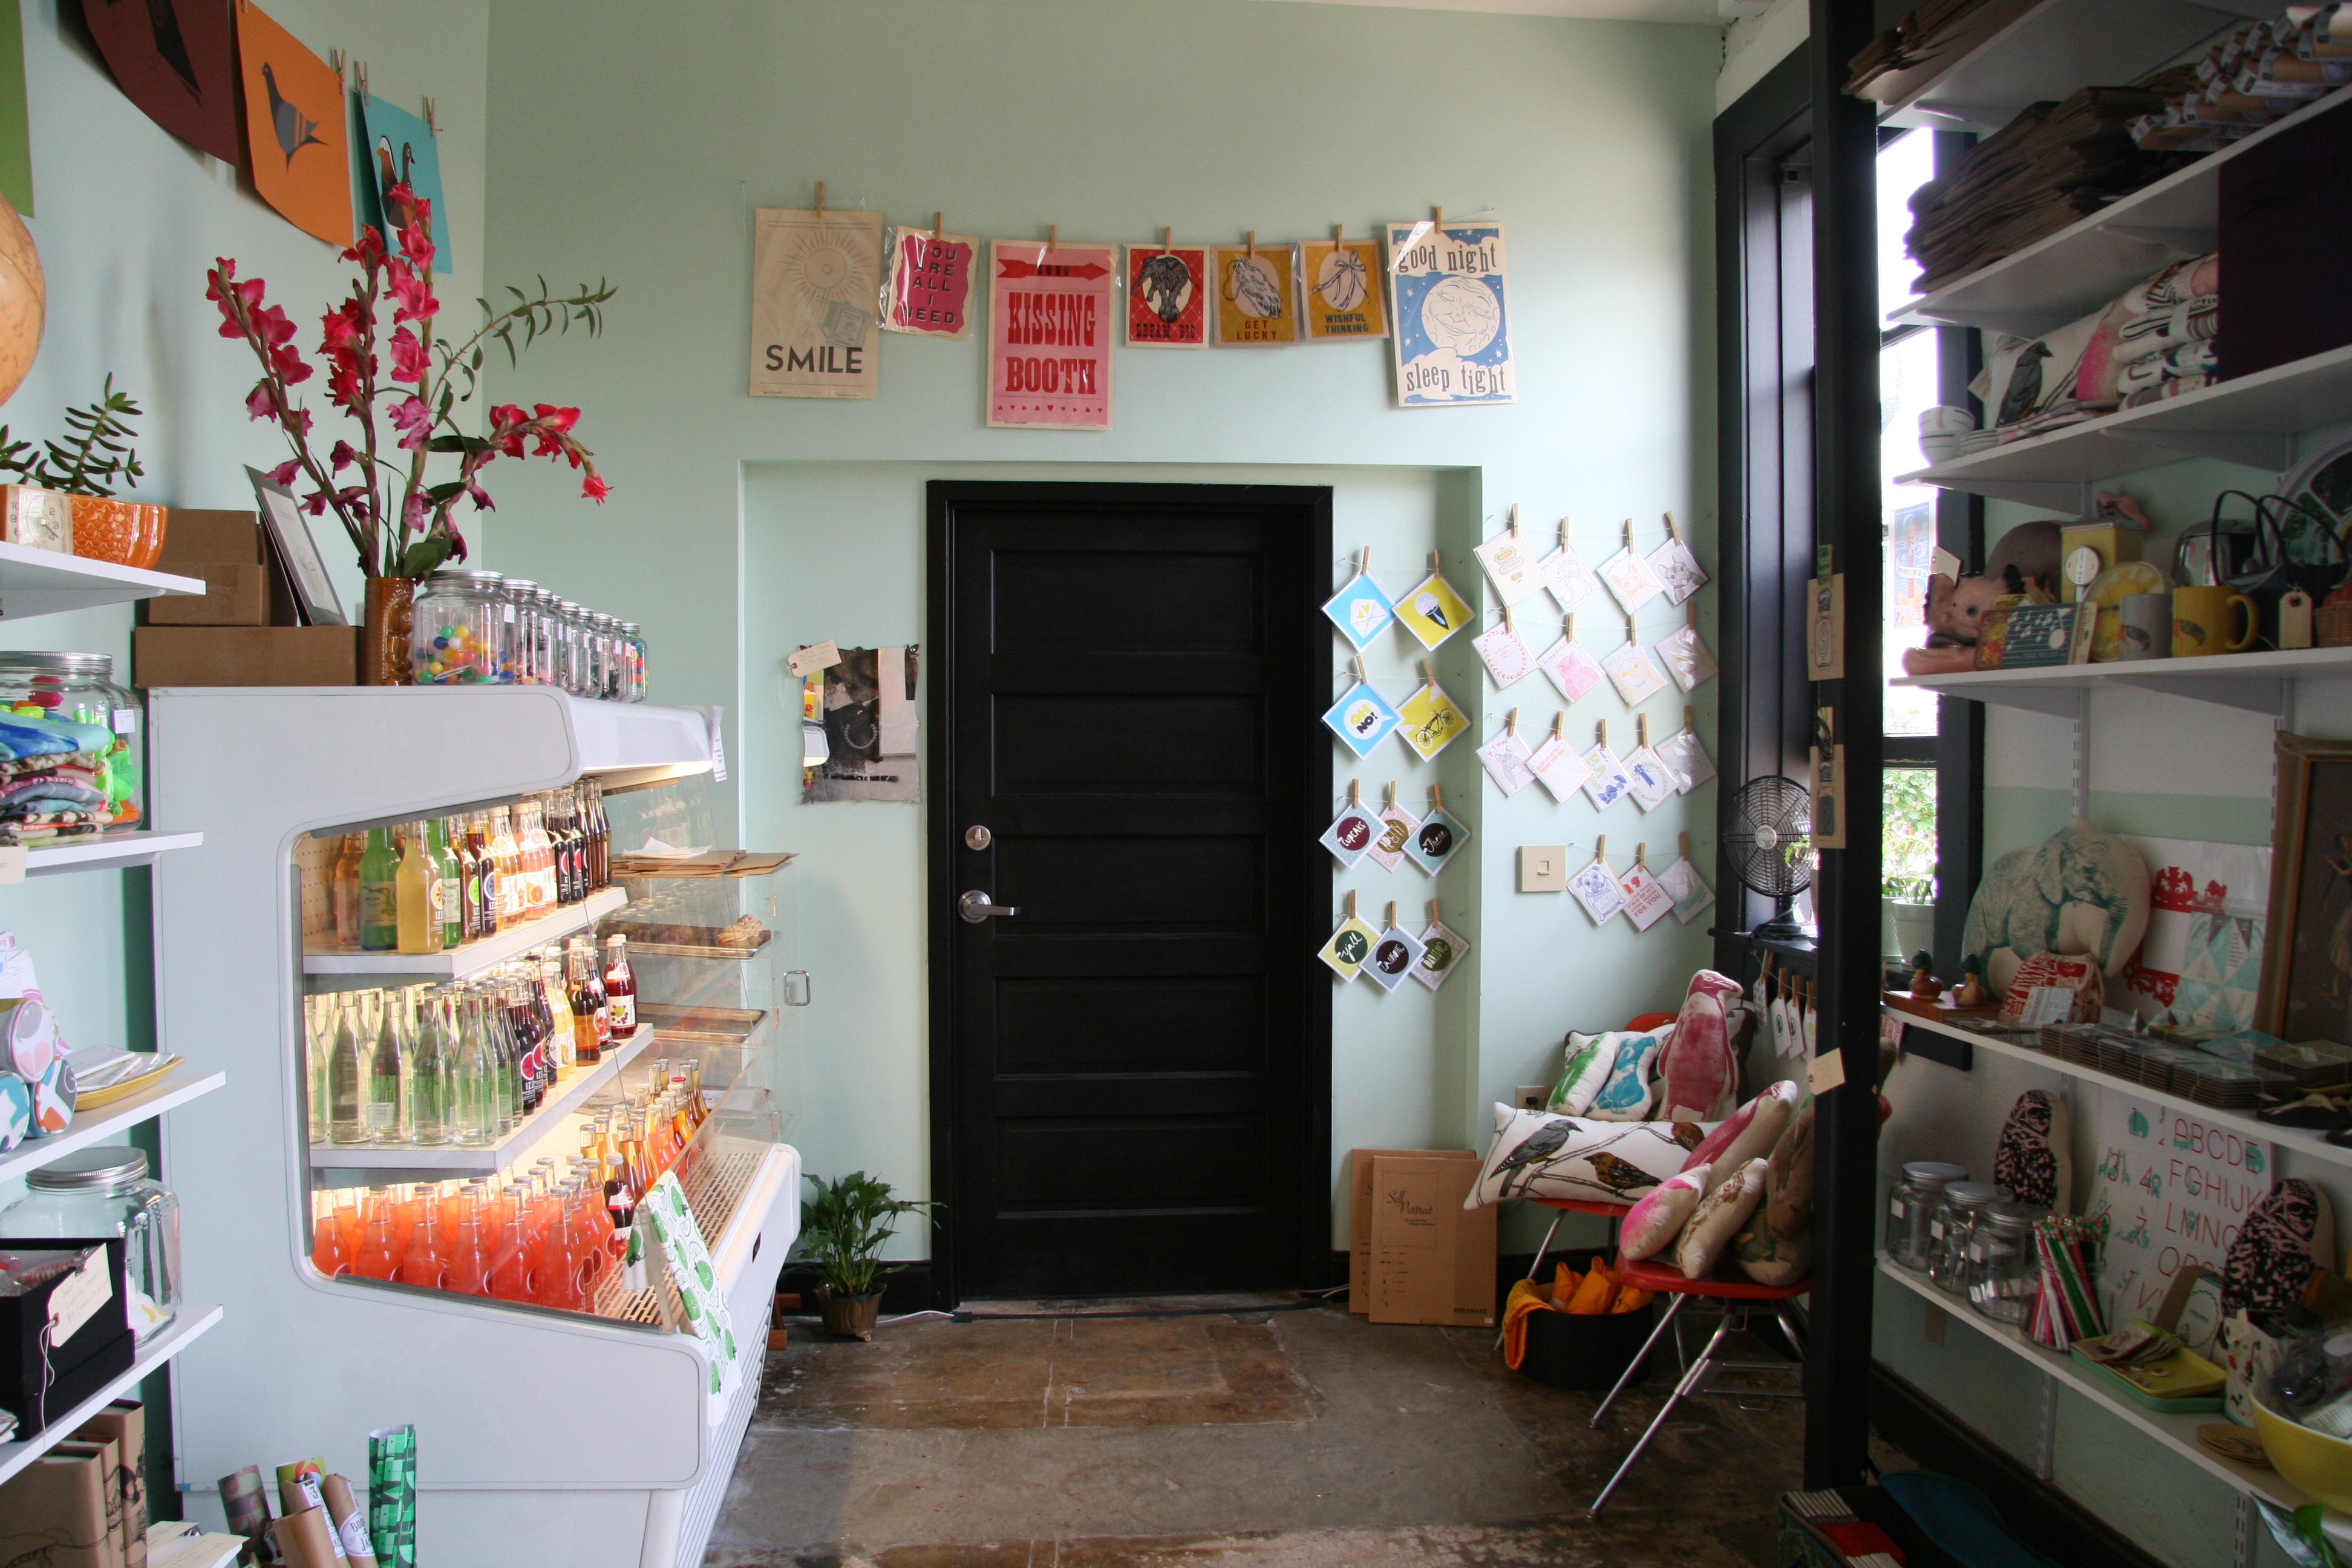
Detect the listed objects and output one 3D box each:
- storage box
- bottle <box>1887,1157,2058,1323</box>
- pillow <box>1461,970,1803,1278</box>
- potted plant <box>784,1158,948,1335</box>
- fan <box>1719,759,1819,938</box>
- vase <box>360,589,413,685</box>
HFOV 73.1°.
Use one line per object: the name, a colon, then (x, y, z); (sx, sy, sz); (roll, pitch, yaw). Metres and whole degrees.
storage box: (-1.755, -0.261, 3.090); (0.328, 0.421, 0.455); (-1, -3, -7)
bottle: (1.715, 0.987, 3.437); (0.204, 0.204, 0.303); (4, -1, -1)
pillow: (1.216, 0.951, 4.280); (0.876, 0.756, 0.925); (3, 11, 20)
potted plant: (-0.895, 1.318, 4.522); (0.435, 0.440, 0.400); (1, -13, 1)
fan: (1.689, 0.198, 4.490); (0.228, 0.467, 0.382); (1, 11, 10)
vase: (-1.523, -0.294, 3.054); (0.072, 0.194, 0.117); (7, 13, 37)
